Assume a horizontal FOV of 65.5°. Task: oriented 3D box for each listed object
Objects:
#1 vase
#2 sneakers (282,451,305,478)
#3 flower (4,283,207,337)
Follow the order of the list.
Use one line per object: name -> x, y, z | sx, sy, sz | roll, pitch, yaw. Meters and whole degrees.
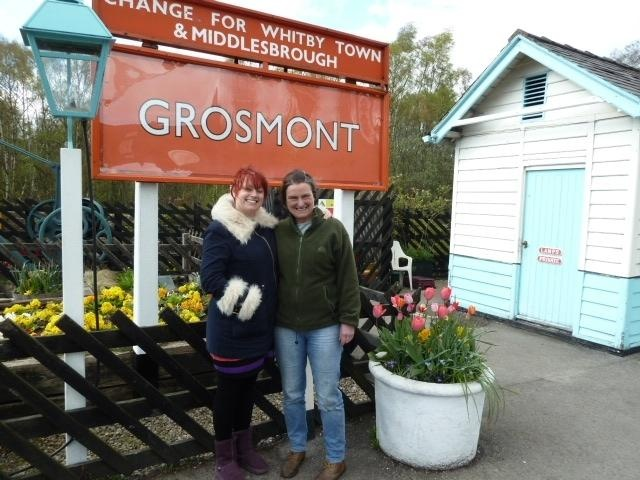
vase -> 0.891, 1.517, 4.439 | 0.811, 0.635, 0.847 | 1, 0, -6
sneakers -> -0.233, 1.848, 4.087 | 0.090, 0.096, 0.257 | 4, -6, 13
flower -> -2.093, 0.708, 5.173 | 1.742, 0.422, 0.904 | 0, -1, -39
